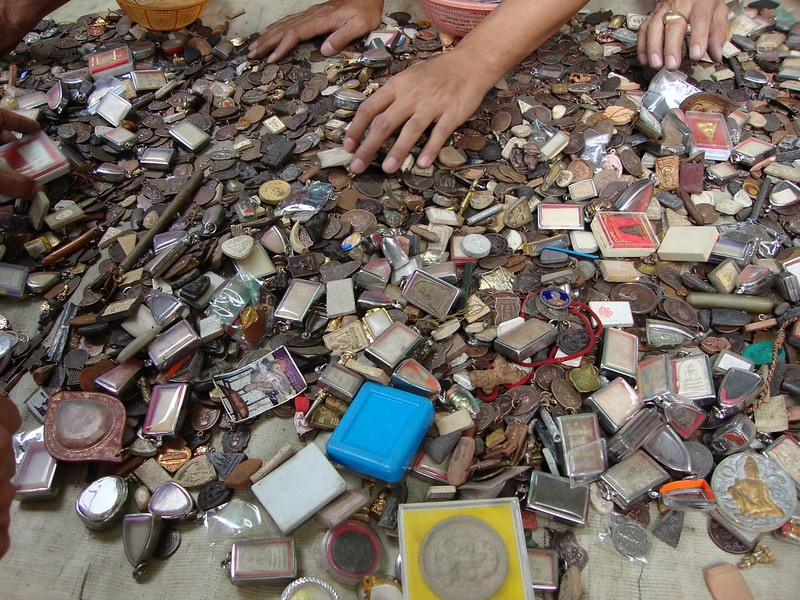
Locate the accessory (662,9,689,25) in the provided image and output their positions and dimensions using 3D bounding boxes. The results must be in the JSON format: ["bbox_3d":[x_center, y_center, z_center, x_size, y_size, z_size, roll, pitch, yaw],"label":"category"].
[{"bbox_3d":[1.448,-1.491,3.178,0.099,0.024,0.099,-18,50,-3],"label":"accessory"}]

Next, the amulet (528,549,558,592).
[{"bbox_3d":[0.510,0.951,2.153,0.098,0.042,0.133,-4,61,0],"label":"amulet"}]

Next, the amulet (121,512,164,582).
[{"bbox_3d":[-0.922,0.871,2.170,0.143,0.059,0.210,-6,79,5],"label":"amulet"}]

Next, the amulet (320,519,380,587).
[{"bbox_3d":[-0.167,0.899,2.174,0.204,0.065,0.200,-28,63,-13],"label":"amulet"}]

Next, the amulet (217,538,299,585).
[{"bbox_3d":[-0.480,0.926,2.157,0.224,0.071,0.142,-5,61,-1],"label":"amulet"}]
